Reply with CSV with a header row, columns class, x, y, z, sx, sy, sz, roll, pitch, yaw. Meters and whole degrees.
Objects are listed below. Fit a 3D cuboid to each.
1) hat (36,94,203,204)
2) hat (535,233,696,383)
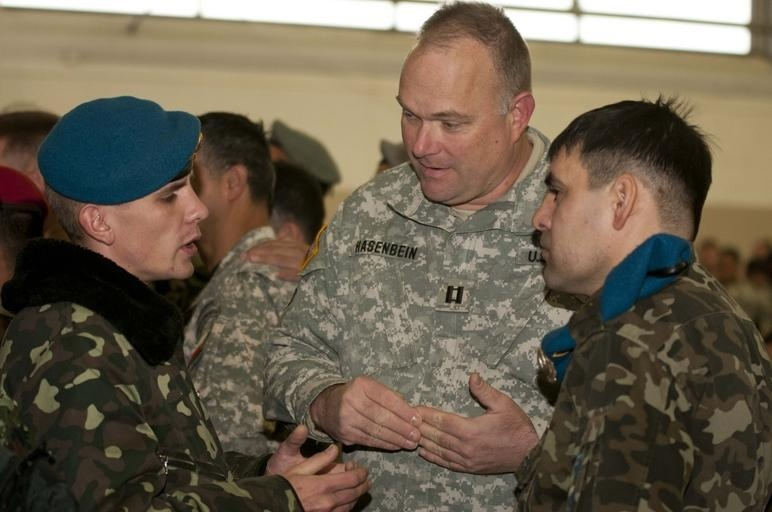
class,x,y,z,sx,sy,sz,roll,pitch,yaw
hat,-0.956,-0.368,3.457,0.480,0.137,0.405,3,51,-8
hat,0.735,0.132,3.405,0.191,0.571,0.427,35,21,-14
